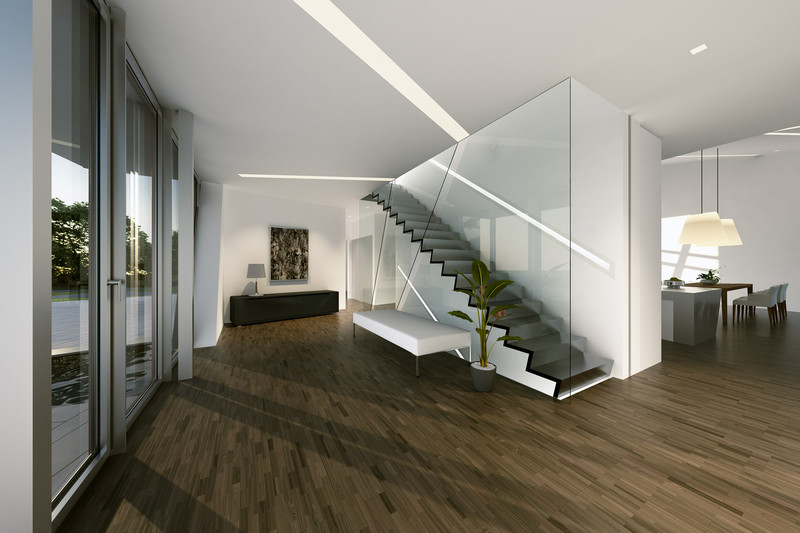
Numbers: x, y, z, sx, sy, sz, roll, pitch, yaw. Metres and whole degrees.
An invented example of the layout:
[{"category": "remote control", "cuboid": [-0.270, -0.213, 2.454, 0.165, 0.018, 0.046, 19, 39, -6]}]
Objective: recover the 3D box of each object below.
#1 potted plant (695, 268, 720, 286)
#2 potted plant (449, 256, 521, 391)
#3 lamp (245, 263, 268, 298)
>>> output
[{"category": "potted plant", "cuboid": [5.572, 0.186, 8.467, 0.276, 0.190, 0.276, -2, -5, 19]}, {"category": "potted plant", "cuboid": [0.969, 0.603, 5.496, 0.654, 1.374, 1.071, 0, 7, 6]}, {"category": "lamp", "cuboid": [-2.556, 0.221, 8.348, 0.273, 0.566, 0.607, -2, 7, -15]}]
